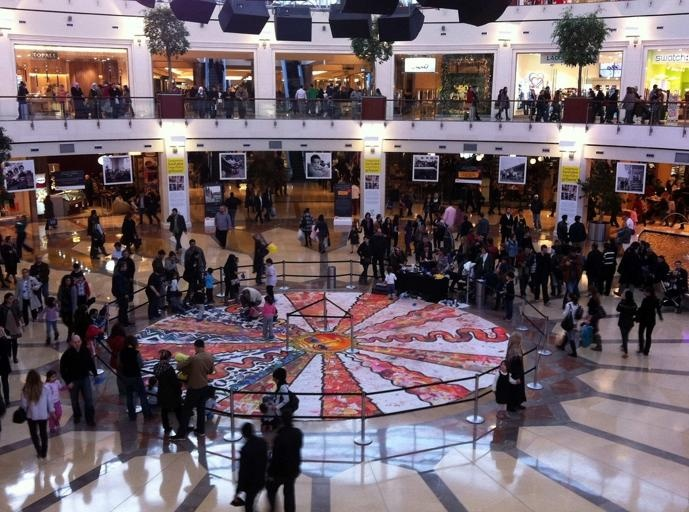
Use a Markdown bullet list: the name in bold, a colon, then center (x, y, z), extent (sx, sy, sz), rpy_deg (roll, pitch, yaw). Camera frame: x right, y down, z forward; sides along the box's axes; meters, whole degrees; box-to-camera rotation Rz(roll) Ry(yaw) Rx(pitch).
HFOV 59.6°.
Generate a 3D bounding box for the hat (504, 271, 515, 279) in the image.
- **hat**: center (4.235, 0.512, 15.373), extent (0.162, 0.215, 0.209), rpy_deg (-7, 26, -18)

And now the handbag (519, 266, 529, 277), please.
- **handbag**: center (5.042, 0.413, 16.928), extent (0.345, 0.323, 0.189), rpy_deg (-1, 1, -9)

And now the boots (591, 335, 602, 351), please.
- **boots**: center (5.926, 2.001, 14.077), extent (0.198, 0.364, 0.289), rpy_deg (4, 13, 23)

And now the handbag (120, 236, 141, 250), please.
- **handbag**: center (-7.375, -0.440, 20.601), extent (0.525, 0.526, 0.691), rpy_deg (0, 4, -3)

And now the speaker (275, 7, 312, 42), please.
- **speaker**: center (-1.793, -7.884, 20.662), extent (1.198, 1.174, 0.894), rpy_deg (0, 36, -7)

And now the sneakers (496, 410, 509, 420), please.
- **sneakers**: center (2.926, 2.893, 11.084), extent (0.256, 0.138, 0.277), rpy_deg (0, 12, 4)

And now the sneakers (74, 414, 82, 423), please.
- **sneakers**: center (-4.902, 2.987, 11.028), extent (0.086, 0.208, 0.194), rpy_deg (-3, 2, -5)

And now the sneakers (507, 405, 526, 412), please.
- **sneakers**: center (3.240, 2.855, 11.284), extent (0.411, 0.095, 0.112), rpy_deg (-5, 13, -22)

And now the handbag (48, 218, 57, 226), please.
- **handbag**: center (-12.279, -1.421, 25.283), extent (0.444, 0.385, 0.225), rpy_deg (-3, -1, -44)

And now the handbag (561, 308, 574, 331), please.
- **handbag**: center (5.084, 1.460, 13.622), extent (0.306, 0.527, 0.191), rpy_deg (-1, 12, -1)

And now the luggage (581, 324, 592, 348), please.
- **luggage**: center (5.511, 1.815, 13.667), extent (0.287, 0.555, 0.206), rpy_deg (1, 12, 6)
